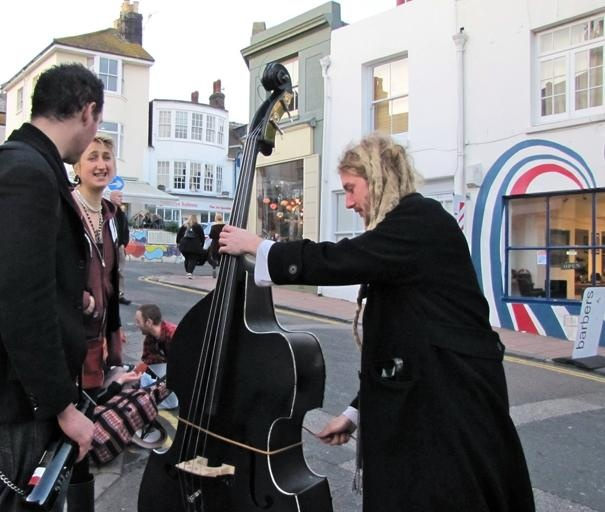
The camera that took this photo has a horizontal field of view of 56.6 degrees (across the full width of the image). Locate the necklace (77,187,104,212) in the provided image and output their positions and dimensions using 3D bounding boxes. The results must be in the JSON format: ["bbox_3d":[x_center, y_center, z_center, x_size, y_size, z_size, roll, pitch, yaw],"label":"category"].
[{"bbox_3d":[-1.389,-0.359,3.687,0.130,0.147,0.034,2,25,24],"label":"necklace"}]

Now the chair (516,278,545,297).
[{"bbox_3d":[4.097,0.525,10.182,0.326,0.448,0.304,1,1,4],"label":"chair"}]

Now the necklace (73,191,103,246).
[{"bbox_3d":[-1.205,-0.208,3.171,0.085,0.334,0.228,-17,-12,-11],"label":"necklace"}]

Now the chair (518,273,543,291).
[{"bbox_3d":[4.117,0.483,10.205,0.283,0.402,0.273,3,2,12],"label":"chair"}]

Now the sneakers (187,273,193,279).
[{"bbox_3d":[-2.974,0.546,14.918,0.102,0.129,0.306,-1,-6,-5],"label":"sneakers"}]

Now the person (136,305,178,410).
[{"bbox_3d":[-1.196,0.850,4.610,0.328,0.963,0.411,11,-36,-29],"label":"person"}]

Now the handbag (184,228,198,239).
[{"bbox_3d":[-2.841,-0.549,14.421,0.308,0.340,0.177,-1,-15,0],"label":"handbag"}]
